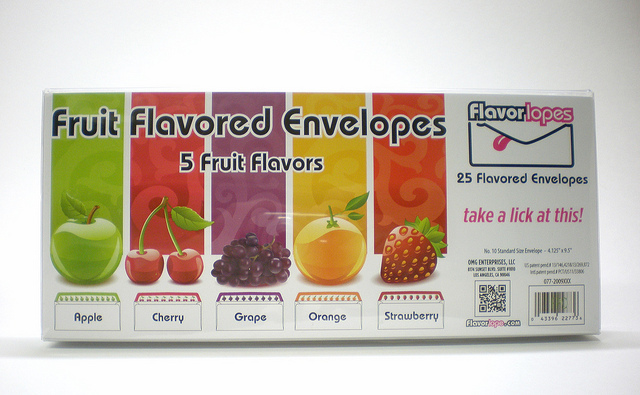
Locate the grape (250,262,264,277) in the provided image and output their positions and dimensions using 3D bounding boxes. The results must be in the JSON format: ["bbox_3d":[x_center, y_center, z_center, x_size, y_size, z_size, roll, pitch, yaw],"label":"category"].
[{"bbox_3d":[-0.336,0.381,3.241,0.074,0.081,0.073,9,26,7],"label":"grape"}]

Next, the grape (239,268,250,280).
[{"bbox_3d":[-0.410,0.414,3.215,0.062,0.044,0.045,2,1,12],"label":"grape"}]

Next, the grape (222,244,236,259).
[{"bbox_3d":[-0.497,0.295,3.221,0.080,0.056,0.057,29,-28,-24],"label":"grape"}]

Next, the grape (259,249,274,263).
[{"bbox_3d":[-0.291,0.314,3.209,0.066,0.070,0.063,4,-4,-10],"label":"grape"}]

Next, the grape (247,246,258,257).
[{"bbox_3d":[-0.367,0.291,3.210,0.056,0.061,0.054,5,-12,-3],"label":"grape"}]

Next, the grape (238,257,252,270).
[{"bbox_3d":[-0.404,0.354,3.211,0.069,0.073,0.066,0,16,-20],"label":"grape"}]

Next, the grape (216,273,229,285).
[{"bbox_3d":[-0.534,0.440,3.208,0.062,0.057,0.036,-1,-3,1],"label":"grape"}]

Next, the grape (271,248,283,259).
[{"bbox_3d":[-0.236,0.302,3.203,0.044,0.052,0.030,2,3,-4],"label":"grape"}]

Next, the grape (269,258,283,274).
[{"bbox_3d":[-0.239,0.367,3.209,0.077,0.081,0.073,4,-5,-1],"label":"grape"}]

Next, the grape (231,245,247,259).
[{"bbox_3d":[-0.438,0.293,3.260,0.072,0.078,0.069,-18,11,-36],"label":"grape"}]
